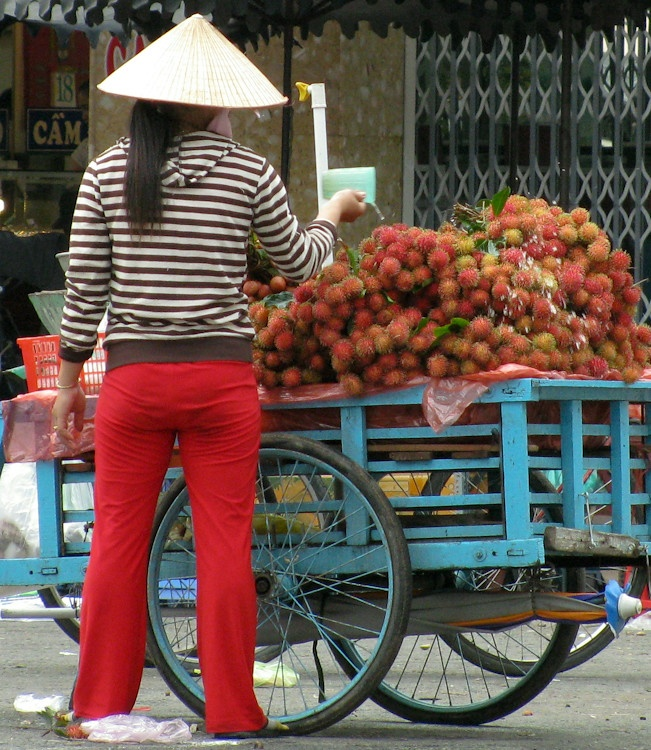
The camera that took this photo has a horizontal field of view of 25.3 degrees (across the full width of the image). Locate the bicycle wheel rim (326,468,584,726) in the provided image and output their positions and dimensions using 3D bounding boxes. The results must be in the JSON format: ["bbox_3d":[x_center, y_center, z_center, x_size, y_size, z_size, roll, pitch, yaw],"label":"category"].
[{"bbox_3d":[0.405,0.879,5.016,0.571,0.586,0.392,2,19,3],"label":"bicycle wheel rim"}]

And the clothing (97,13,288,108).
[{"bbox_3d":[-0.339,-0.793,3.923,0.327,0.130,0.323,-7,13,-44],"label":"clothing"}]

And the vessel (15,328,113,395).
[{"bbox_3d":[-0.821,-0.028,4.654,0.303,0.190,0.213,-2,-4,1],"label":"vessel"}]

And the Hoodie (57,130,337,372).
[{"bbox_3d":[-0.321,-0.324,4.036,0.838,0.655,0.433,-2,-5,-15],"label":"Hoodie"}]

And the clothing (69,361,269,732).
[{"bbox_3d":[-0.409,0.465,4.012,0.531,1.130,0.274,4,20,-1],"label":"clothing"}]
